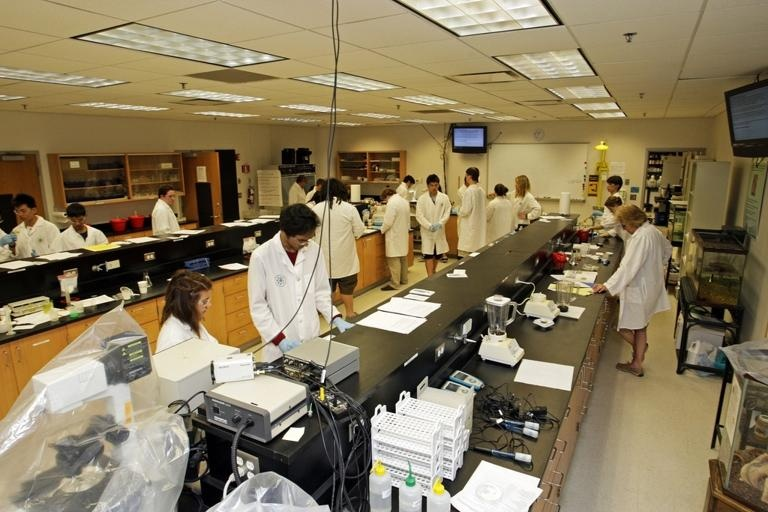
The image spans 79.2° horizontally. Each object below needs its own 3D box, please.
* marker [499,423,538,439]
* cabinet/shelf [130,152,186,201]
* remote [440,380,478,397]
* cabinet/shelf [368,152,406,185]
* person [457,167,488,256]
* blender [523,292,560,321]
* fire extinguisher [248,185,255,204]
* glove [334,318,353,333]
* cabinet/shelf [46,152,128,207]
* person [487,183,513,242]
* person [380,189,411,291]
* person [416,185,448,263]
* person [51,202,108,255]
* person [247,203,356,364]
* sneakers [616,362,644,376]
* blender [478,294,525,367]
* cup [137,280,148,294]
[{"bbox_3d":[0.861,1.088,2.993,0.261,0.071,0.076,12,-9,29],"label":"marker"},{"bbox_3d":[-4.135,-1.464,8.416,0.192,0.711,1.119,3,9,24],"label":"cabinet/shelf"},{"bbox_3d":[0.484,0.846,2.978,0.180,0.051,0.091,13,18,42],"label":"remote"},{"bbox_3d":[0.075,-2.192,11.498,1.140,0.948,0.384,1,5,21],"label":"cabinet/shelf"},{"bbox_3d":[1.470,-0.689,7.907,0.462,1.579,0.817,3,14,15],"label":"person"},{"bbox_3d":[1.464,0.467,4.351,0.245,0.160,0.242,7,12,29],"label":"blender"},{"bbox_3d":[-3.010,-1.399,10.561,0.070,0.398,0.274,4,14,19],"label":"fire extinguisher"},{"bbox_3d":[-0.313,0.512,3.513,0.088,0.043,0.148,-9,17,-31],"label":"glove"},{"bbox_3d":[-4.874,-1.266,7.556,0.328,0.781,1.151,3,7,33],"label":"cabinet/shelf"},{"bbox_3d":[2.104,-0.779,8.408,0.458,1.055,0.746,3,14,18],"label":"person"},{"bbox_3d":[0.176,-0.230,7.706,0.459,1.551,0.473,-1,13,-1],"label":"person"},{"bbox_3d":[0.794,-0.499,7.931,0.510,1.221,0.597,5,15,23],"label":"person"},{"bbox_3d":[-4.006,-0.372,6.070,0.722,0.693,0.379,-13,21,-41],"label":"person"},{"bbox_3d":[-0.684,0.190,3.570,0.696,1.220,0.568,-5,14,-17],"label":"person"},{"bbox_3d":[2.728,1.254,5.230,0.286,0.106,0.114,20,32,34],"label":"sneakers"},{"bbox_3d":[0.938,0.584,3.690,0.371,0.490,0.283,6,7,38],"label":"blender"},{"bbox_3d":[-2.536,0.324,4.960,0.106,0.115,0.129,2,5,4],"label":"cup"}]
